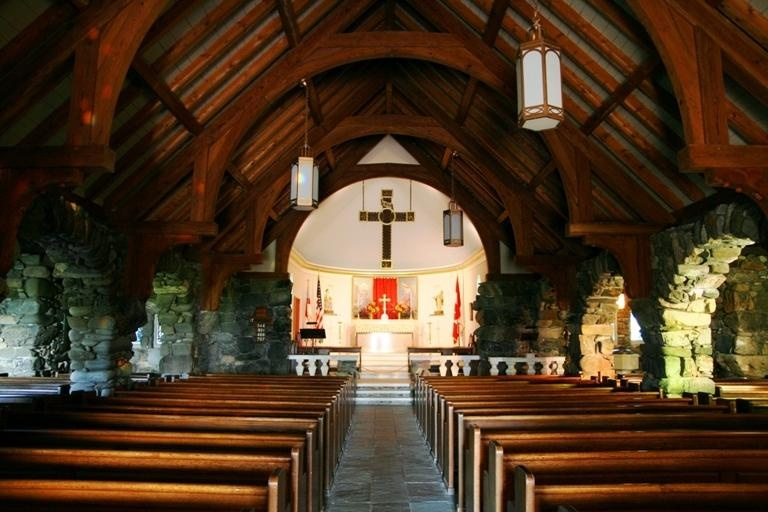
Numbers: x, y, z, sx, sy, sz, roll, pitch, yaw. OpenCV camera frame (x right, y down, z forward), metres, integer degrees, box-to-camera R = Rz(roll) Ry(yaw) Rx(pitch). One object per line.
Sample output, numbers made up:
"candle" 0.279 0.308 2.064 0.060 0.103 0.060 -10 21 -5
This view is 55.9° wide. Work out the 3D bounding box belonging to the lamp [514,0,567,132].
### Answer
"lamp" 1.714 -2.030 7.995 0.482 1.092 0.501 -2 -12 10
